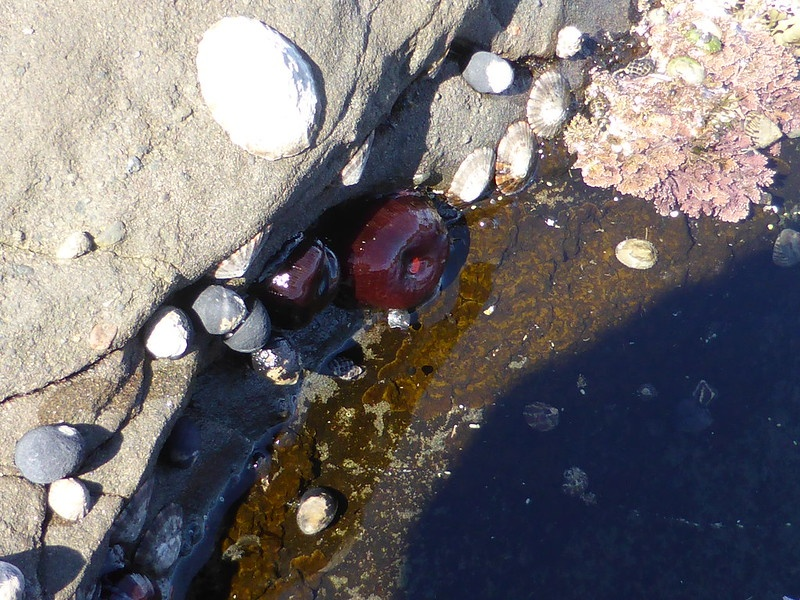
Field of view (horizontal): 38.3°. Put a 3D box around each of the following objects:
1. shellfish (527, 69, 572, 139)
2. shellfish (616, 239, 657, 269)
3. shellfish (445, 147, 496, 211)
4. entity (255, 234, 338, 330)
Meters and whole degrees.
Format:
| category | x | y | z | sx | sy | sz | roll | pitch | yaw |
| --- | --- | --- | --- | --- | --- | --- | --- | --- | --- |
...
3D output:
| category | x | y | z | sx | sy | sz | roll | pitch | yaw |
| --- | --- | --- | --- | --- | --- | --- | --- | --- | --- |
| shellfish | 1.374 | -1.828 | 10.699 | 0.184 | 0.452 | 0.552 | 15 | 105 | 52 |
| shellfish | 2.249 | -0.441 | 11.019 | 0.377 | 0.164 | 0.271 | -1 | 64 | 8 |
| shellfish | 0.679 | -1.126 | 10.641 | 0.577 | 0.405 | 0.236 | -35 | 63 | -10 |
| entity | -0.874 | -0.146 | 10.030 | 0.801 | 0.612 | 0.412 | -42 | 65 | -13 |
